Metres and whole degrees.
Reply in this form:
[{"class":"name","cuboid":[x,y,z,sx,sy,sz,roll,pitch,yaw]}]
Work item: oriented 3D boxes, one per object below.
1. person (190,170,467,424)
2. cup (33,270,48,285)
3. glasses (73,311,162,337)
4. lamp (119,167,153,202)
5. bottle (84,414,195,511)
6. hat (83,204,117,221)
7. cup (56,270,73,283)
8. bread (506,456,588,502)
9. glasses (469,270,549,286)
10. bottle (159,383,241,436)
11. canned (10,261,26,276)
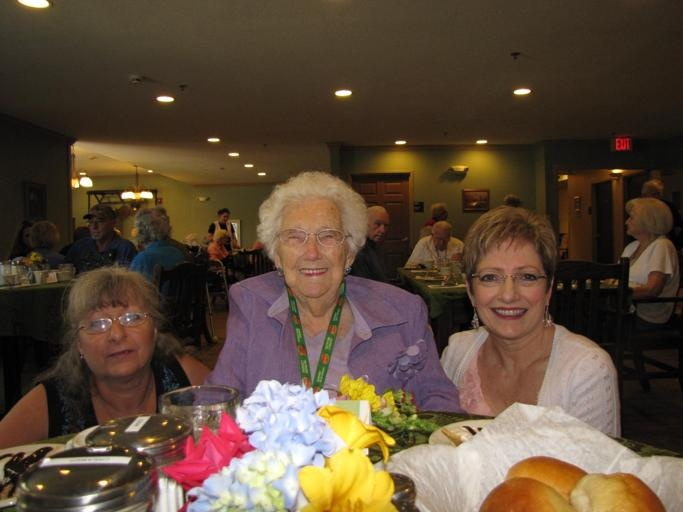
[{"class":"person","cuboid":[-0.072,0.205,1.914,1.056,0.999,0.590,-3,4,-3]},{"class":"cup","cuboid":[-2.244,0.155,3.899,0.059,0.087,0.087,-1,-8,-4]},{"class":"glasses","cuboid":[-0.755,0.217,1.750,0.209,0.070,0.037,-2,4,-26]},{"class":"lamp","cuboid":[-5.310,-1.955,13.613,0.720,0.849,0.738,2,3,26]},{"class":"bottle","cuboid":[-0.344,0.344,0.931,0.141,0.038,0.143,2,4,0]},{"class":"hat","cuboid":[-2.368,-0.443,5.168,0.253,0.172,0.330,-1,4,-24]},{"class":"cup","cuboid":[-2.120,0.145,4.023,0.086,0.087,0.056,1,-3,-15]},{"class":"bread","cuboid":[0.323,0.336,0.813,0.078,0.042,0.065,10,18,22]},{"class":"glasses","cuboid":[0.575,0.075,1.807,0.248,0.052,0.079,1,3,15]},{"class":"bottle","cuboid":[-0.288,0.291,1.062,0.110,0.082,0.113,-1,-6,0]},{"class":"canned","cuboid":[-2.326,0.089,3.776,0.111,0.087,0.113,-3,5,-33]}]
